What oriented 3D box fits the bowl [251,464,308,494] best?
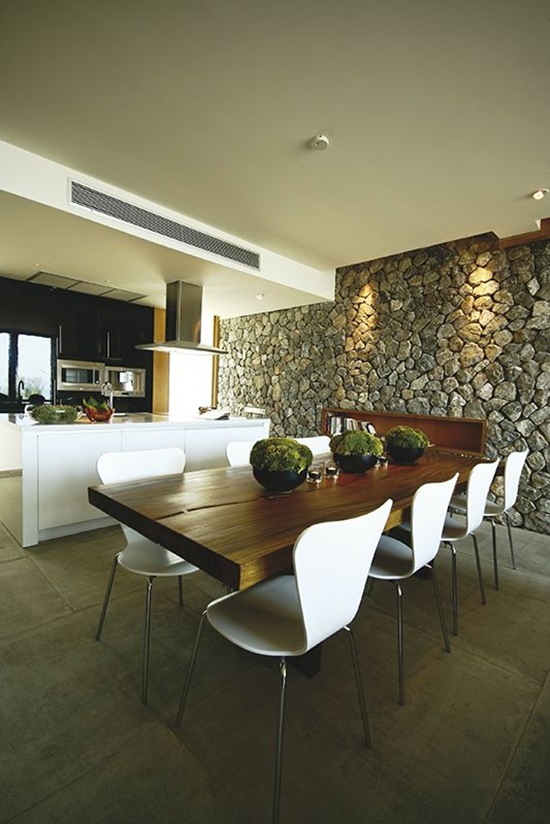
[{"bbox_3d":[0.006,0.261,2.152,0.132,0.073,0.130,-1,-1,0],"label":"bowl"}]

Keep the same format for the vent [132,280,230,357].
[{"bbox_3d":[-0.809,-0.823,4.915,0.696,0.607,0.458,2,0,-43],"label":"vent"}]

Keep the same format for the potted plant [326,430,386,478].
[{"bbox_3d":[0.378,0.201,2.639,0.214,0.180,0.216,-1,1,-41],"label":"potted plant"}]

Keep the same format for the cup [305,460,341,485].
[{"bbox_3d":[0.206,0.281,2.537,0.088,0.063,0.090,0,6,0],"label":"cup"}]

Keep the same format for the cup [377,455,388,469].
[{"bbox_3d":[0.560,0.270,2.924,0.049,0.050,0.051,-1,2,0],"label":"cup"}]

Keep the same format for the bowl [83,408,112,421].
[{"bbox_3d":[-1.229,0.022,3.817,0.107,0.061,0.109,0,1,0],"label":"bowl"}]

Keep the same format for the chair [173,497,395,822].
[{"bbox_3d":[0.043,0.675,1.708,0.519,0.793,0.498,-4,5,-42],"label":"chair"}]

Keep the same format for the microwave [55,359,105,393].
[{"bbox_3d":[-1.952,-0.359,5.586,0.145,0.331,0.512,1,4,30],"label":"microwave"}]

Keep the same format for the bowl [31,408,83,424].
[{"bbox_3d":[-1.371,0.027,3.433,0.128,0.076,0.173,0,2,26],"label":"bowl"}]

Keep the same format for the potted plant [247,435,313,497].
[{"bbox_3d":[0.025,0.218,2.220,0.265,0.226,0.274,1,8,-13],"label":"potted plant"}]

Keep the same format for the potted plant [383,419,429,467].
[{"bbox_3d":[0.705,0.186,3.051,0.207,0.166,0.200,0,3,36],"label":"potted plant"}]
